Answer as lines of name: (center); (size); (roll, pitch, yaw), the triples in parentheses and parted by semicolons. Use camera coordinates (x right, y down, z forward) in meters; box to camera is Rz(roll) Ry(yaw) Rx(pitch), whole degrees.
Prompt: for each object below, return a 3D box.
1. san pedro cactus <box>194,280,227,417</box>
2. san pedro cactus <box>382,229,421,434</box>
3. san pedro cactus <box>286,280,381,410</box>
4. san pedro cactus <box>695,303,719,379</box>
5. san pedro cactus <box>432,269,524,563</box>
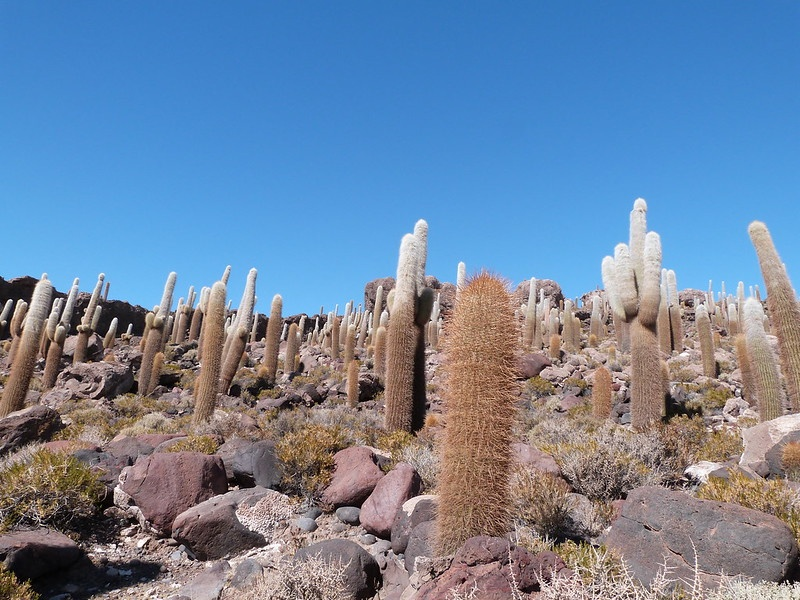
san pedro cactus: (-4.410, 1.182, 11.456); (0.888, 3.143, 1.906); (-5, 6, -21)
san pedro cactus: (0.023, 0.781, 10.396); (0.632, 3.551, 1.622); (-2, 5, 7)
san pedro cactus: (-2.800, 2.422, 21.975); (2.329, 4.344, 2.701); (-21, -45, 20)
san pedro cactus: (10.532, 1.435, 16.830); (0.634, 2.296, 2.294); (1, 6, 33)
san pedro cactus: (0.865, 1.291, 5.598); (1.099, 2.971, 0.666); (-4, 5, -11)
